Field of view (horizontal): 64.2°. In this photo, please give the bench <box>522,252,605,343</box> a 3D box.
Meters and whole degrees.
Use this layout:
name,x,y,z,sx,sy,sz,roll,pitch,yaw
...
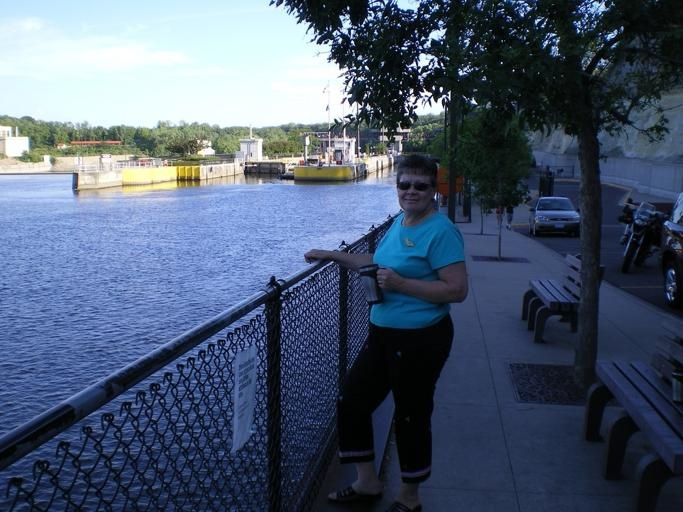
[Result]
name,x,y,z,sx,sy,sz,roll,pitch,yaw
bench,3.464,0.594,8.768,0.869,1.125,2.088,-1,6,13

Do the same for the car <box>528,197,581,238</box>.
name,x,y,z,sx,sy,sz,roll,pitch,yaw
car,9.763,-1.772,24.944,2.067,1.727,2.340,1,10,21

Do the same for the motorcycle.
name,x,y,z,sx,sy,sz,roll,pitch,yaw
motorcycle,8.988,-0.697,16.287,1.148,1.823,3.184,19,20,32

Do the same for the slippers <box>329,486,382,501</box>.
name,x,y,z,sx,sy,sz,roll,pitch,yaw
slippers,0.101,1.766,4.086,0.384,0.125,0.145,4,-7,-5

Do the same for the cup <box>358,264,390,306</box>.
name,x,y,z,sx,sy,sz,roll,pitch,yaw
cup,0.205,0.196,3.743,0.159,0.313,0.194,-2,9,3

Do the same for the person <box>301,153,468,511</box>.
name,x,y,z,sx,sy,sz,roll,pitch,yaw
person,0.383,0.588,3.912,1.009,2.584,0.627,0,9,14
